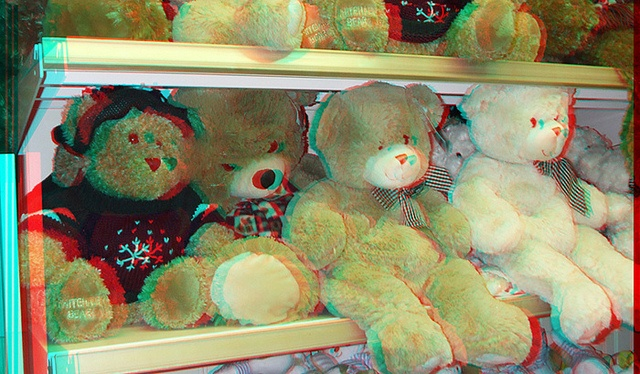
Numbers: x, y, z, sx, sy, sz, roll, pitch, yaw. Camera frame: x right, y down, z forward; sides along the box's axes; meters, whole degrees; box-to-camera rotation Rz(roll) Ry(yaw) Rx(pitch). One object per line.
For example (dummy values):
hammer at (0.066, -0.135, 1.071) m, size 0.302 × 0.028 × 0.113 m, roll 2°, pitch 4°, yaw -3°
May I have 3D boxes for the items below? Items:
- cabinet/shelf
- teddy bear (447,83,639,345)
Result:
cabinet/shelf at (-0.041, 0.061, 1.433) m, size 1.038 × 0.566 × 0.360 m, roll -4°, pitch 5°, yaw -11°
teddy bear at (0.793, 0.024, 1.812) m, size 0.620 × 0.858 × 0.754 m, roll -7°, pitch 9°, yaw -35°
